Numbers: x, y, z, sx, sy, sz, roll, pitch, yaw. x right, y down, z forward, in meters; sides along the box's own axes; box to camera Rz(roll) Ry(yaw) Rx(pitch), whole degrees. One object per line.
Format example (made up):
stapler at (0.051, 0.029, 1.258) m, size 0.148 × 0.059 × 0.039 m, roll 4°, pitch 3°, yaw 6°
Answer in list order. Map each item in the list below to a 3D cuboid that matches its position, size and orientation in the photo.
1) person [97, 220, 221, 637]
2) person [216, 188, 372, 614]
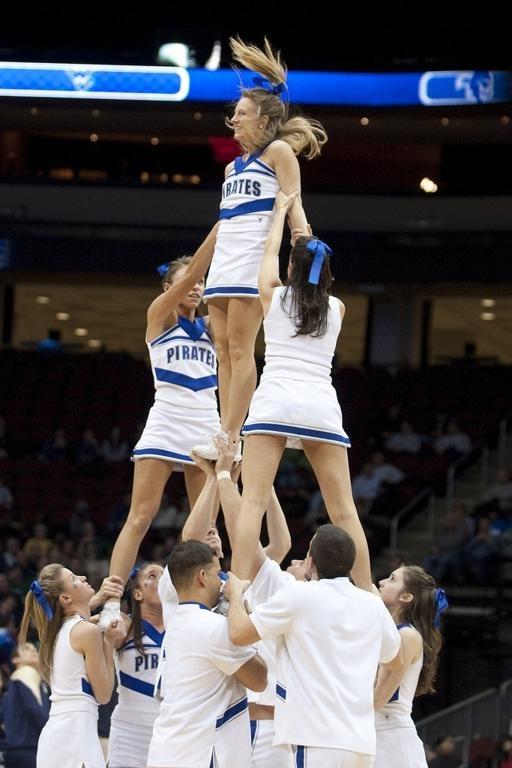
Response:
person at (-0.512, 0.158, 6.671) m, size 0.543 × 2.203 × 0.656 m, roll 6°, pitch -10°, yaw 2°
person at (0.287, 0.016, 5.429) m, size 0.677 × 1.985 × 0.333 m, roll 7°, pitch -10°, yaw -1°
